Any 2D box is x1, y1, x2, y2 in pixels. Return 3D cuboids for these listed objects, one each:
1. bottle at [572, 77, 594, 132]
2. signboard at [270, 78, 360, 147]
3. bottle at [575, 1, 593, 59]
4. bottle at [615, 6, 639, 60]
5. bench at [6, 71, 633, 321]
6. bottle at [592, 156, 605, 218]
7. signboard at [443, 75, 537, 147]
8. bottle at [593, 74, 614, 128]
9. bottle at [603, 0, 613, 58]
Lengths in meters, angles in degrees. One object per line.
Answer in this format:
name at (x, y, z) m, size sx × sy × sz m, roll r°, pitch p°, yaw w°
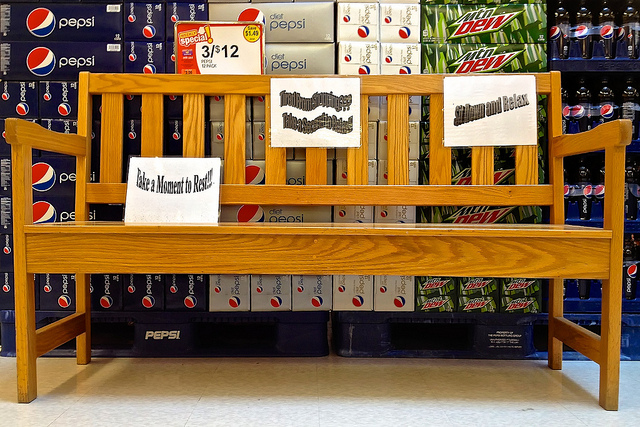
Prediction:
bottle at (1.322, -0.505, 3.978) m, size 0.109 × 0.322 × 0.106 m, roll -3°, pitch 7°, yaw 0°
signboard at (-0.014, -0.460, 3.732) m, size 0.496 × 0.332 × 0.022 m, roll 7°, pitch 24°, yaw 45°
bottle at (1.291, -0.890, 3.965) m, size 0.080 × 0.291 × 0.230 m, roll -1°, pitch 6°, yaw 19°
bottle at (1.476, -0.844, 3.891) m, size 0.110 × 0.224 × 0.080 m, roll -1°, pitch 6°, yaw 12°
bench at (0.007, -0.078, 3.689) m, size 2.686 × 1.193 × 0.760 m, roll -2°, pitch 6°, yaw 2°
bottle at (1.364, -0.167, 3.980) m, size 0.052 × 0.215 × 0.183 m, roll -1°, pitch 6°, yaw 18°
signboard at (0.868, -0.470, 3.797) m, size 0.506 × 0.320 × 0.274 m, roll 2°, pitch 5°, yaw 30°
bottle at (1.401, -0.556, 4.007) m, size 0.098 × 0.247 × 0.203 m, roll -1°, pitch 6°, yaw 19°
bottle at (1.387, -0.865, 3.908) m, size 0.044 × 0.237 × 0.051 m, roll -1°, pitch 6°, yaw 17°
